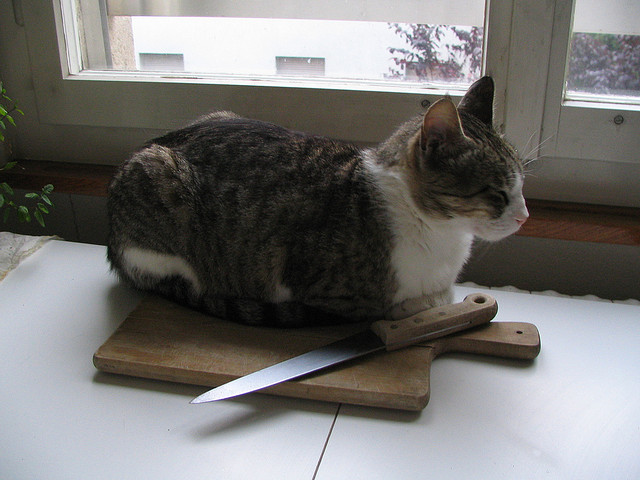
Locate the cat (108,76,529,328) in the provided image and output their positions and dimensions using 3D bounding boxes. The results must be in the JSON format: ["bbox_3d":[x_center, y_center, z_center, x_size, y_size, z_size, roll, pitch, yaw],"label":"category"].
[{"bbox_3d":[-0.013,-0.085,1.004,0.772,0.421,0.376,9,21,18],"label":"cat"}]

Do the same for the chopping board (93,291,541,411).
[{"bbox_3d":[0.018,0.177,0.970,0.752,0.037,0.419,3,16,4],"label":"chopping board"}]
